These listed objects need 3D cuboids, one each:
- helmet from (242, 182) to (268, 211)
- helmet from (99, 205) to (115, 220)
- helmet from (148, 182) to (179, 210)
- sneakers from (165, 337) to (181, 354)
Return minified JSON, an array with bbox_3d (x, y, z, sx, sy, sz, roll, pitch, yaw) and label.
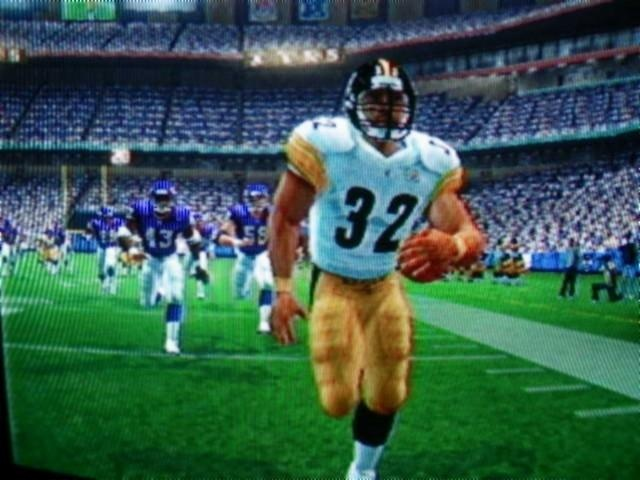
[{"bbox_3d":[-0.882,-0.619,10.272,0.314,0.356,0.686,2,3,-3],"label":"helmet"},{"bbox_3d":[-3.450,-0.455,11.783,0.236,0.154,0.326,15,-14,-34],"label":"helmet"},{"bbox_3d":[-1.750,-0.521,8.253,0.258,0.326,0.331,-1,8,-25],"label":"helmet"},{"bbox_3d":[-1.657,1.186,8.131,0.132,0.177,0.076,9,-15,-21],"label":"sneakers"}]
